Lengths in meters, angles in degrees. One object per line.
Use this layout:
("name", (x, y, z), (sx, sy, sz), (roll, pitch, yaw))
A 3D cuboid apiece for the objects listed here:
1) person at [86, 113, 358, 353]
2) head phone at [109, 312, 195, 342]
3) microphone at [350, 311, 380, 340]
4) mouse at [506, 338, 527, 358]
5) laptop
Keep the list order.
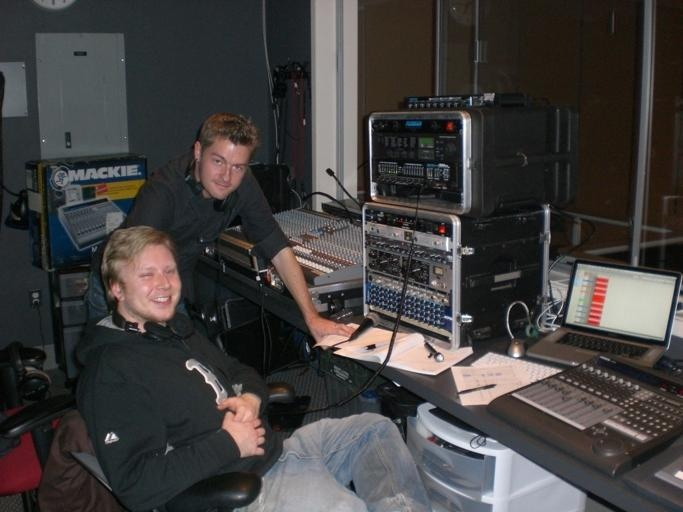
("person", (-0.593, -0.100, 3.102), (0.972, 1.300, 0.819), (35, 40, 19))
("head phone", (-0.659, 0.257, 2.135), (0.174, 0.066, 0.131), (12, 2, -23))
("microphone", (0.102, 0.310, 2.604), (0.056, 0.053, 0.181), (26, 56, 36))
("mouse", (0.683, 0.355, 2.373), (0.065, 0.049, 0.065), (-15, 18, -38))
("laptop", (1.074, 0.211, 2.348), (0.431, 0.297, 0.437), (-17, 22, -37))
